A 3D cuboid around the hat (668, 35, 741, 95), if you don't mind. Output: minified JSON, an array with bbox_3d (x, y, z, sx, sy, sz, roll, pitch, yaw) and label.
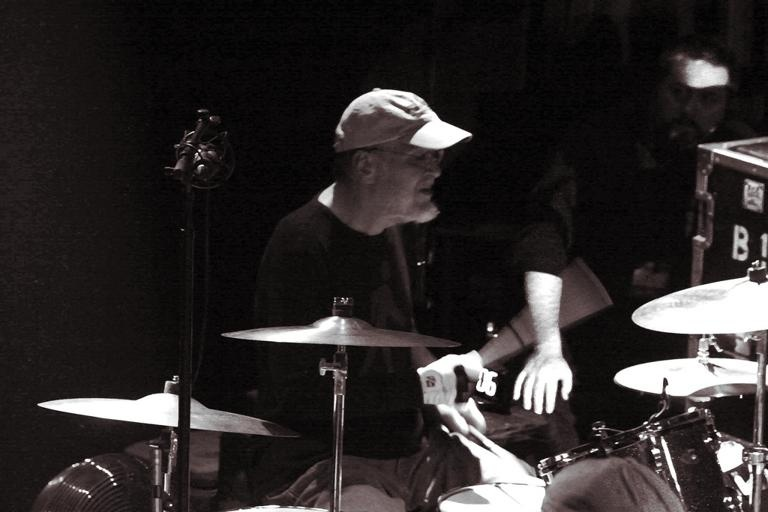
[{"bbox_3d":[1.574,-0.968,5.302,0.253,0.266,0.325,14,12,33],"label":"hat"}]

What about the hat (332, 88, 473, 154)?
[{"bbox_3d":[0.069,-0.667,5.237,0.555,0.192,0.344,-1,7,3],"label":"hat"}]

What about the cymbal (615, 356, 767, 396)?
[{"bbox_3d":[1.430,0.581,5.014,0.614,0.140,0.310,-1,-2,-20],"label":"cymbal"}]
